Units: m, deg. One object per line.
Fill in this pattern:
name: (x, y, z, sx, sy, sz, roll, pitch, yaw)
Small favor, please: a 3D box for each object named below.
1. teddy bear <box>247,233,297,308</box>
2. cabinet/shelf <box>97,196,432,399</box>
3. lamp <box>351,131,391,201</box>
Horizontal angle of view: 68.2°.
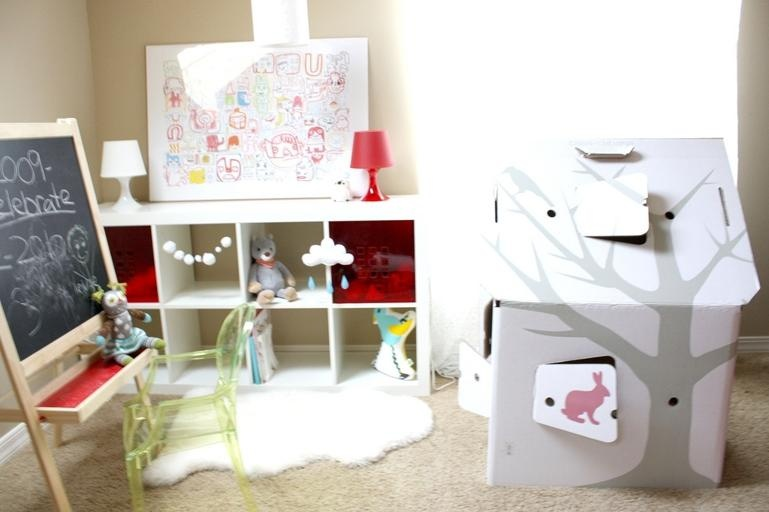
teddy bear: (-0.707, 0.081, 3.404, 0.234, 0.371, 0.342, -16, 19, -42)
cabinet/shelf: (-0.756, 0.185, 3.665, 2.298, 1.253, 0.668, -1, 23, 9)
lamp: (-0.083, -0.528, 3.333, 0.216, 0.403, 0.165, 8, 18, 39)
